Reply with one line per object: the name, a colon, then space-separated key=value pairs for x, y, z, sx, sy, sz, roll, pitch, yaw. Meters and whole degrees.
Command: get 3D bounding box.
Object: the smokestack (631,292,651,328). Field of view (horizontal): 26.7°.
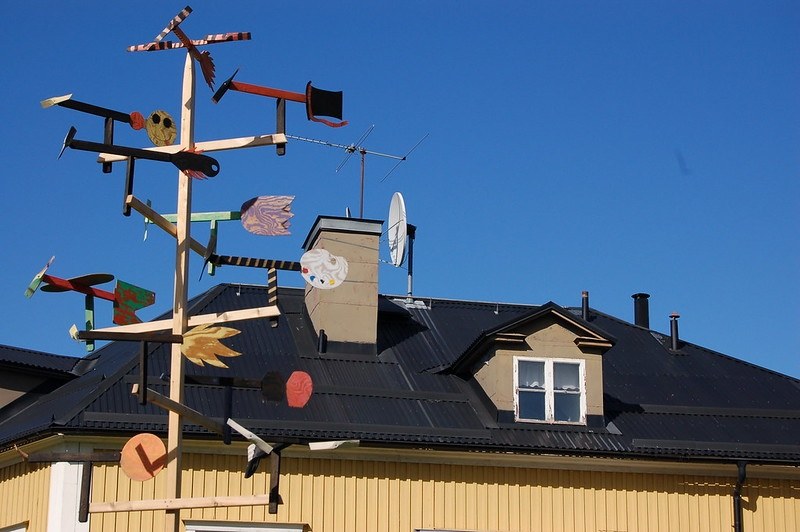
smokestack: x=7.657 y=1.476 z=53.273 sx=0.399 sy=1.213 sz=0.438 roll=4 pitch=24 yaw=25
